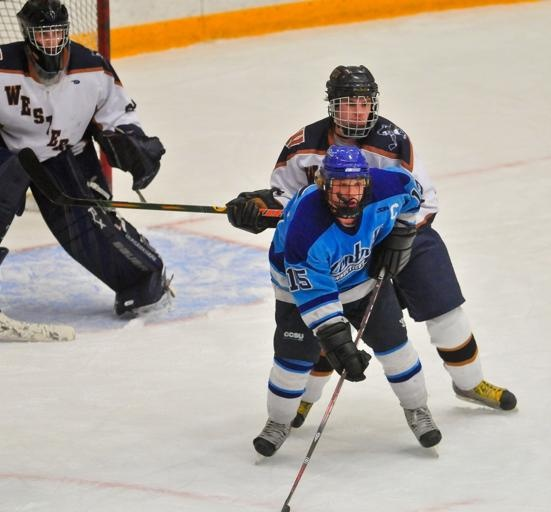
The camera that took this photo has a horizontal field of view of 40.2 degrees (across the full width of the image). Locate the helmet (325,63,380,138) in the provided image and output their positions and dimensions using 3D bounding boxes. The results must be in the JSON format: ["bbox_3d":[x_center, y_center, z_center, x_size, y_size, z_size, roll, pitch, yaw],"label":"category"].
[{"bbox_3d":[0.286,-0.566,2.817,0.197,0.264,0.204,1,23,3],"label":"helmet"}]

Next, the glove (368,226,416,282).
[{"bbox_3d":[0.445,0.028,2.692,0.184,0.231,0.081,4,47,2],"label":"glove"}]

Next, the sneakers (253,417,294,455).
[{"bbox_3d":[-0.011,0.636,2.691,0.076,0.058,0.175,15,29,20],"label":"sneakers"}]

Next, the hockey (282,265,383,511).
[{"bbox_3d":[0.188,0.450,2.589,0.093,0.044,0.889,32,82,35],"label":"hockey"}]

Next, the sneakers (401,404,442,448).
[{"bbox_3d":[0.502,0.591,2.668,0.071,0.074,0.181,-33,33,4],"label":"sneakers"}]

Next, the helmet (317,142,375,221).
[{"bbox_3d":[0.231,-0.262,2.467,0.214,0.177,0.210,-7,25,-13],"label":"helmet"}]
